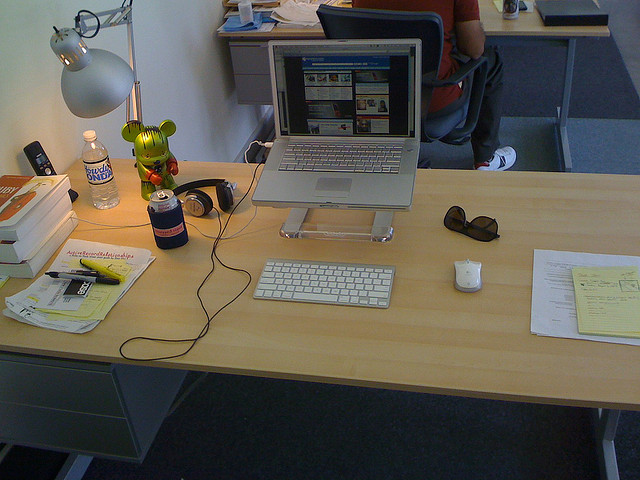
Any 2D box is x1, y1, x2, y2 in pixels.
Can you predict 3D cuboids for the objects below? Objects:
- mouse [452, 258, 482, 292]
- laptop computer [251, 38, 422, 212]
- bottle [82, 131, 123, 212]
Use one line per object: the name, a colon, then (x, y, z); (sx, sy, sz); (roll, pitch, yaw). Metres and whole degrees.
mouse: (0.435, 0.097, 1.423); (0.084, 0.034, 0.114); (-4, 45, 13)
laptop computer: (0.089, -0.327, 1.763); (0.655, 0.491, 0.571); (3, 53, 7)
bottle: (-0.829, -0.274, 1.795); (0.110, 0.256, 0.237); (-19, 38, -20)
